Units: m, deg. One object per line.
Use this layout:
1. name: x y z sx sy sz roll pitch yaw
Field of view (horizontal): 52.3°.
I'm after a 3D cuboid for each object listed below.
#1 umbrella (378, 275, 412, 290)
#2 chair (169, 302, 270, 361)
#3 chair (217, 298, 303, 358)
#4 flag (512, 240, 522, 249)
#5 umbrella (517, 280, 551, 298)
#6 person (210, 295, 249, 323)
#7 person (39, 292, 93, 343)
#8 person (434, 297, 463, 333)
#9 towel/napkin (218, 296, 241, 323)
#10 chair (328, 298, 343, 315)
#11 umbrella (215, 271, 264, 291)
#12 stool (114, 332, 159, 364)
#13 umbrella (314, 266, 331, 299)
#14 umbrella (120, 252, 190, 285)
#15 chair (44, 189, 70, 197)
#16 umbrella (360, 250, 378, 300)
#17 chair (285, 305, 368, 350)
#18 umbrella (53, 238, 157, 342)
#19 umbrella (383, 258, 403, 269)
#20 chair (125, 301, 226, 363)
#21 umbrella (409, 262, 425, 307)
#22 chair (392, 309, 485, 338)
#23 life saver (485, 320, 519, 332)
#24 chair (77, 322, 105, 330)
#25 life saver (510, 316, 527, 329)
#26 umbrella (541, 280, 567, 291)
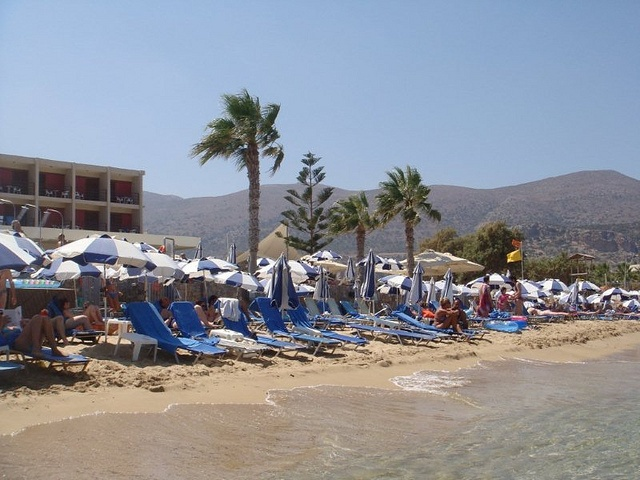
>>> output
1. umbrella: 2.616 1.378 20.822 0.574 0.208 0.568 15 -4 -34
2. chair: -2.097 1.676 12.420 1.864 0.887 0.800 1 1 38
3. chair: -1.335 1.727 13.338 2.297 0.977 0.780 8 8 38
4. flag: 11.069 0.244 36.551 0.594 0.374 0.605 0 5 12
5. umbrella: 8.511 1.943 25.859 1.165 0.401 1.176 -1 4 -9
6. person: -1.878 1.438 13.749 0.638 0.374 0.827 3 -2 -9
7. person: -4.655 1.417 12.292 1.101 0.636 0.364 9 -2 -22
8. person: 3.398 1.959 16.930 0.755 0.946 0.518 -4 0 26
9. towel/napkin: -1.888 1.477 13.559 0.588 0.587 0.315 3 10 18
10. chair: 0.499 1.877 18.356 0.372 0.656 0.467 1 -5 -27
11. umbrella: -2.136 1.081 17.041 1.241 0.447 1.006 3 1 -9
12. stool: -3.227 1.824 11.572 0.539 0.420 0.763 8 -8 -26
13. umbrella: 0.075 1.283 18.811 0.410 0.977 1.410 3 1 0
14. umbrella: -3.172 0.617 13.468 1.154 0.424 1.135 2 0 15
15. chair: -15.592 -2.757 38.624 1.190 0.402 0.527 0 1 13
16. umbrella: 1.644 1.166 21.552 0.474 1.111 1.780 3 1 4
17. chair: 0.383 1.943 14.481 2.300 0.839 0.737 5 10 17
18. umbrella: -4.605 1.088 13.794 1.905 1.946 1.876 2 -7 -25
19. umbrella: 2.957 1.023 26.494 0.507 0.209 0.497 0 9 -44
20. chair: -2.603 1.661 11.704 2.062 0.908 0.674 6 5 36
21. umbrella: 3.051 1.289 19.891 0.342 1.011 0.371 -3 3 -24
22. chair: 3.042 2.158 16.492 1.844 0.452 0.937 2 2 -8
23. life saver: 5.223 2.488 18.681 0.658 0.145 0.392 8 9 27
24. chair: -4.487 1.677 12.678 0.401 0.151 0.293 3 -4 30
25. life saver: 5.989 2.431 19.349 0.398 0.213 0.599 0 -2 -13
26. umbrella: 9.971 1.968 27.931 0.771 0.278 0.765 0 0 -28
